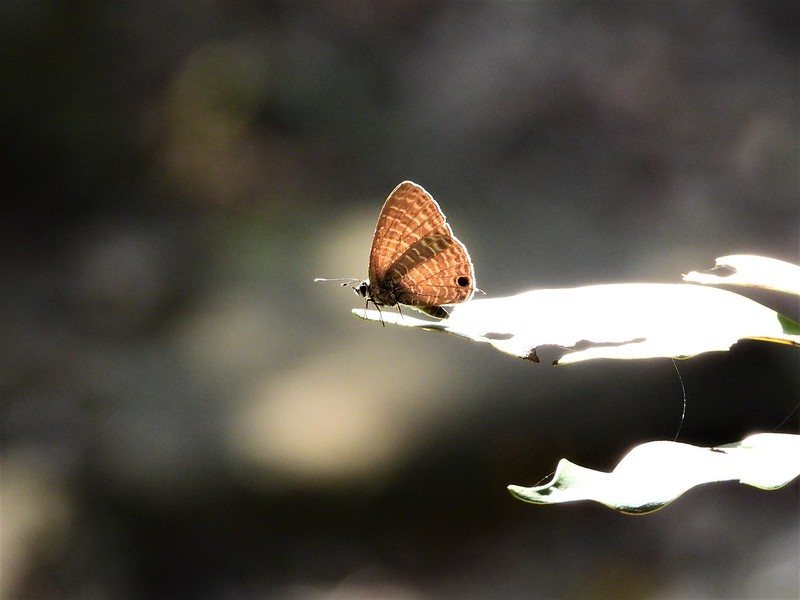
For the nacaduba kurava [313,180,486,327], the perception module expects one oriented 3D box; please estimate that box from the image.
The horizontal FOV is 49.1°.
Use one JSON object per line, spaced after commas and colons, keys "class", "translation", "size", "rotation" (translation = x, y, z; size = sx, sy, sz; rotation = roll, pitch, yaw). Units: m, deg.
{"class": "nacaduba kurava", "translation": [0.034, -0.094, 1.739], "size": [0.244, 0.261, 0.195], "rotation": [2, -87, 1]}
